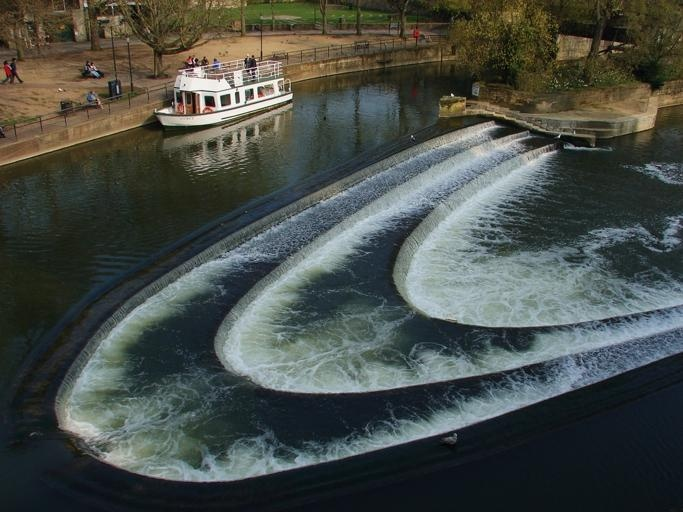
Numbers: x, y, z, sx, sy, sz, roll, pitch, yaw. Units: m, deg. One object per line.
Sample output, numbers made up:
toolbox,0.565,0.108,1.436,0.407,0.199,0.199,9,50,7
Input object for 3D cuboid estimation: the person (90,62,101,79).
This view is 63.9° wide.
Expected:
person,-20.134,-15.215,44.761,0.738,1.166,1.083,-15,30,-12
